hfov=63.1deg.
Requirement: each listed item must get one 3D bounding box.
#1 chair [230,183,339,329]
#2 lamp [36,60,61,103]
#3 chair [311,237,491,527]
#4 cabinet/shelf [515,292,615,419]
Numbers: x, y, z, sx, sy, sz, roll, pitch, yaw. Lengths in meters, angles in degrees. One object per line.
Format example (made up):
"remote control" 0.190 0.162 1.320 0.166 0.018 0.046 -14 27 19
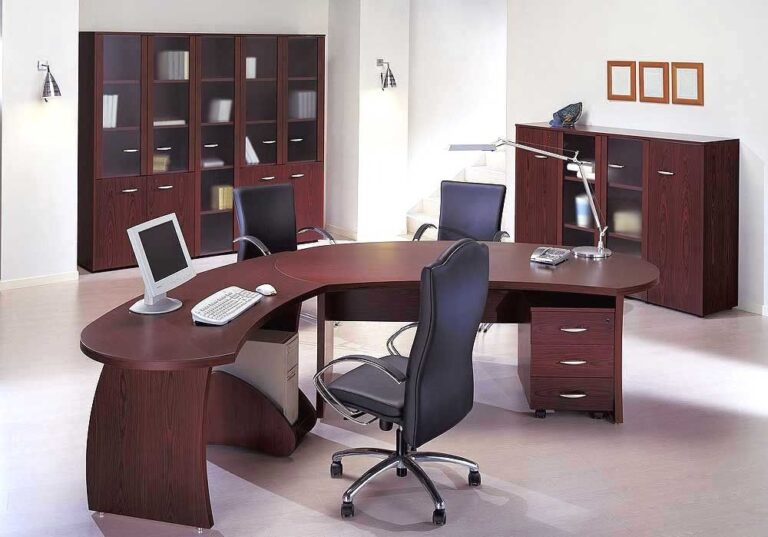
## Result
"chair" -0.880 -0.278 5.036 0.758 0.942 0.659 -7 13 -35
"lamp" -3.182 -1.784 5.933 0.176 0.371 0.150 -8 16 -27
"chair" 0.085 0.513 3.047 0.696 1.324 0.585 6 16 24
"cabinet/shelf" 1.148 0.544 3.831 0.429 0.570 0.787 0 4 3
